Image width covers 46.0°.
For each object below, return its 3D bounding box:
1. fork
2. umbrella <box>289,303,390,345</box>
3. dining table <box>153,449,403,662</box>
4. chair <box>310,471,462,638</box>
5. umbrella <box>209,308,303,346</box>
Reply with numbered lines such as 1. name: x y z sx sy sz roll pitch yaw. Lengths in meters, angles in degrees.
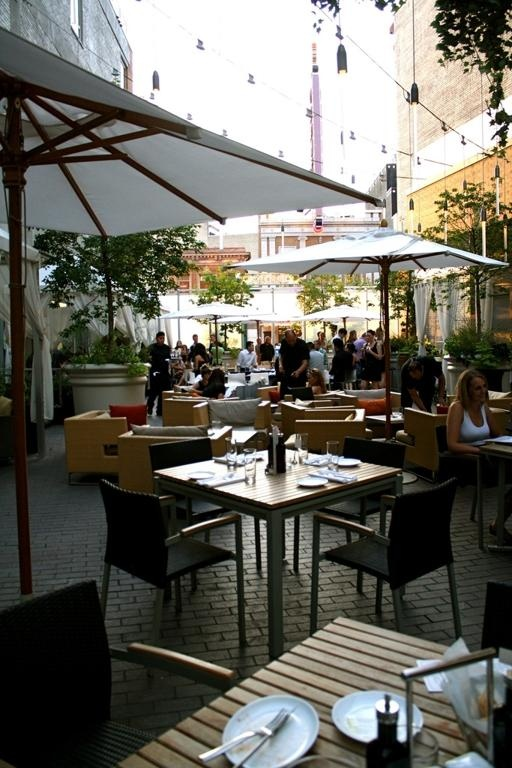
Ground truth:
1. fork: -0.014 0.763 1.300 0.075 0.032 0.264 30 21 29
2. umbrella: 3.697 -2.755 26.800 5.369 1.944 5.517 -2 0 3
3. dining table: 0.042 0.855 4.067 1.138 0.969 1.238 3 6 43
4. chair: 0.813 1.048 3.682 0.865 1.071 0.767 -7 7 -42
5. umbrella: -0.090 -2.869 30.084 5.361 1.907 5.441 -1 0 -18
